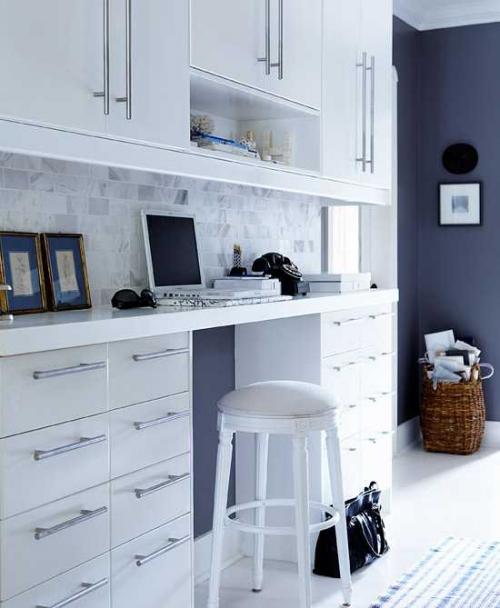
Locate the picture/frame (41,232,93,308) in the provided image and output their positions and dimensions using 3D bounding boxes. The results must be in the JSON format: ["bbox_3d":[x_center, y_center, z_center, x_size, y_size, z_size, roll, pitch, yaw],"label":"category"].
[{"bbox_3d":[-0.484,-0.087,1.398,0.038,0.235,0.195,-6,-4,21],"label":"picture/frame"}]

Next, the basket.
[{"bbox_3d":[1.436,0.789,3.825,0.428,0.553,0.238,0,-1,16],"label":"basket"}]

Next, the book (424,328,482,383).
[{"bbox_3d":[1.404,0.375,3.784,0.283,0.413,0.121,-2,-2,14],"label":"book"}]

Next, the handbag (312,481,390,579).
[{"bbox_3d":[0.438,0.893,2.164,0.242,0.341,0.468,-7,-1,32],"label":"handbag"}]

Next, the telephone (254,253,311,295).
[{"bbox_3d":[0.158,-0.112,2.233,0.181,0.155,0.150,-7,3,-28],"label":"telephone"}]

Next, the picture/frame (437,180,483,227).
[{"bbox_3d":[1.600,-0.761,4.103,0.303,0.344,0.012,1,-11,12],"label":"picture/frame"}]

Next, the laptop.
[{"bbox_3d":[-0.149,-0.159,1.799,0.308,0.293,0.383,-3,1,21],"label":"laptop"}]
